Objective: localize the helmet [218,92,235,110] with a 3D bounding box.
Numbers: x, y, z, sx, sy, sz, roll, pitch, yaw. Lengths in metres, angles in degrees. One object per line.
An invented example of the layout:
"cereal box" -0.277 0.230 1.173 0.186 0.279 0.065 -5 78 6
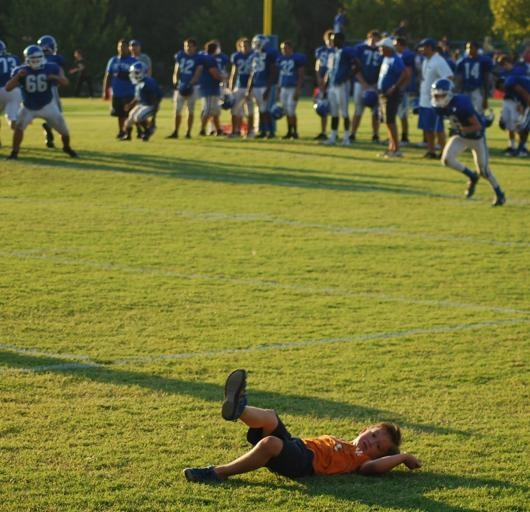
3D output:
"helmet" -0.640 -2.583 22.439 0.194 0.307 0.271 -1 -2 11

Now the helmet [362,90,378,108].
"helmet" 1.578 -2.375 20.404 0.235 0.258 0.479 2 6 4

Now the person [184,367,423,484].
"person" 0.243 1.298 10.160 1.603 0.823 0.797 0 -10 -9

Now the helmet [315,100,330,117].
"helmet" 0.901 -2.327 21.391 0.165 0.261 0.239 6 -3 6

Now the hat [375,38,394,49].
"hat" 1.701 -2.971 19.204 0.208 0.128 0.166 8 11 -10

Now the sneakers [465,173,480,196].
"sneakers" 2.421 -0.824 16.038 0.105 0.339 0.129 9 -7 42

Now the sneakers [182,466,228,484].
"sneakers" -0.446 1.569 9.822 0.284 0.142 0.112 12 -2 -7

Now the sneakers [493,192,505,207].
"sneakers" 2.680 -0.654 15.630 0.068 0.100 0.219 -2 26 31

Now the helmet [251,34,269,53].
"helmet" -0.058 -3.430 21.825 0.225 0.320 0.299 -1 -1 -17

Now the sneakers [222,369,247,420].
"sneakers" -0.223 0.987 9.796 0.131 0.413 0.170 10 -2 26

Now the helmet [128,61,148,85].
"helmet" -1.944 -2.805 20.594 0.292 0.361 0.242 -4 6 -32

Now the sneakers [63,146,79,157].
"sneakers" -2.722 -1.457 18.975 0.176 0.077 0.186 10 -6 -6

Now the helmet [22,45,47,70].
"helmet" -2.977 -2.602 17.619 0.250 0.292 0.337 -14 36 -22

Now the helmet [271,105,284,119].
"helmet" 0.207 -2.350 22.163 0.159 0.250 0.229 7 -1 7

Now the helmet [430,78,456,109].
"helmet" 2.030 -1.856 15.537 0.301 0.337 0.305 5 6 26
